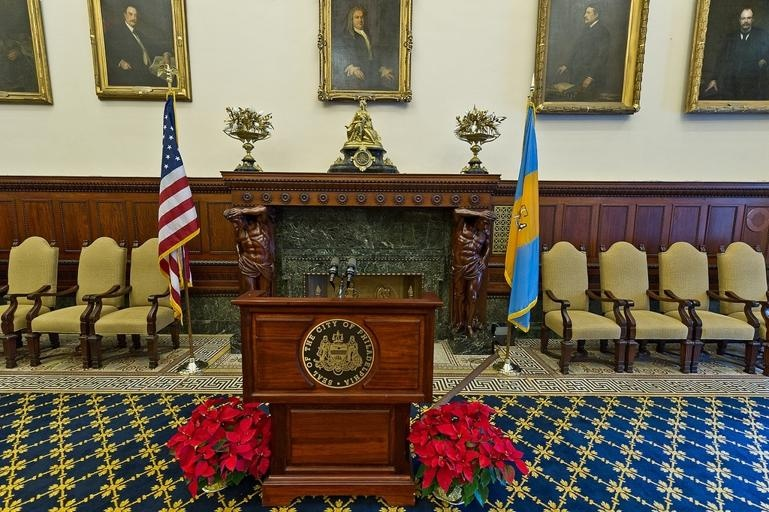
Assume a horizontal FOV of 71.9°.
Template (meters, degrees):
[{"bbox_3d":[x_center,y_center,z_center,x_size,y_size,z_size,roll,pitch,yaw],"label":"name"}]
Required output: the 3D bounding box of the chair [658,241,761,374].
[{"bbox_3d":[4.594,0.706,7.700,0.916,1.721,1.250,0,3,1],"label":"chair"}]

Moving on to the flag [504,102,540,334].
[{"bbox_3d":[1.862,-0.522,7.081,0.393,3.017,0.413,1,9,-1],"label":"flag"}]

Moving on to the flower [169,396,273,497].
[{"bbox_3d":[-1.815,1.882,5.783,0.613,0.450,0.560,-17,26,-19],"label":"flower"}]

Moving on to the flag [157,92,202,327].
[{"bbox_3d":[-2.815,-0.635,7.160,0.507,3.005,0.365,-3,10,-23],"label":"flag"}]

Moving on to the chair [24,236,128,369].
[{"bbox_3d":[-4.317,0.599,7.553,0.937,1.726,1.033,1,2,8],"label":"chair"}]

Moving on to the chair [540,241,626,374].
[{"bbox_3d":[2.831,0.695,7.606,1.086,1.711,1.036,2,9,5],"label":"chair"}]

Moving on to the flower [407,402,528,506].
[{"bbox_3d":[0.830,2.055,5.653,1.097,0.809,1.086,15,17,31],"label":"flower"}]
